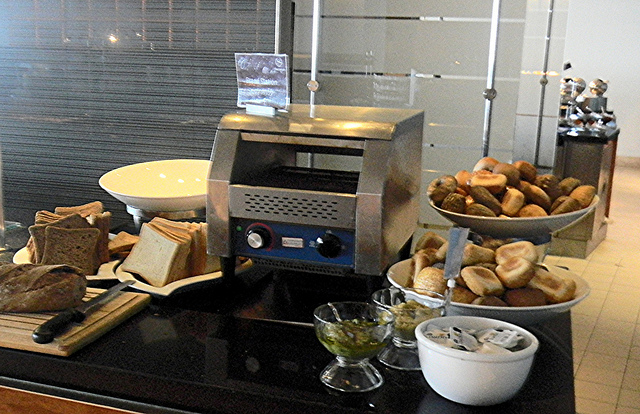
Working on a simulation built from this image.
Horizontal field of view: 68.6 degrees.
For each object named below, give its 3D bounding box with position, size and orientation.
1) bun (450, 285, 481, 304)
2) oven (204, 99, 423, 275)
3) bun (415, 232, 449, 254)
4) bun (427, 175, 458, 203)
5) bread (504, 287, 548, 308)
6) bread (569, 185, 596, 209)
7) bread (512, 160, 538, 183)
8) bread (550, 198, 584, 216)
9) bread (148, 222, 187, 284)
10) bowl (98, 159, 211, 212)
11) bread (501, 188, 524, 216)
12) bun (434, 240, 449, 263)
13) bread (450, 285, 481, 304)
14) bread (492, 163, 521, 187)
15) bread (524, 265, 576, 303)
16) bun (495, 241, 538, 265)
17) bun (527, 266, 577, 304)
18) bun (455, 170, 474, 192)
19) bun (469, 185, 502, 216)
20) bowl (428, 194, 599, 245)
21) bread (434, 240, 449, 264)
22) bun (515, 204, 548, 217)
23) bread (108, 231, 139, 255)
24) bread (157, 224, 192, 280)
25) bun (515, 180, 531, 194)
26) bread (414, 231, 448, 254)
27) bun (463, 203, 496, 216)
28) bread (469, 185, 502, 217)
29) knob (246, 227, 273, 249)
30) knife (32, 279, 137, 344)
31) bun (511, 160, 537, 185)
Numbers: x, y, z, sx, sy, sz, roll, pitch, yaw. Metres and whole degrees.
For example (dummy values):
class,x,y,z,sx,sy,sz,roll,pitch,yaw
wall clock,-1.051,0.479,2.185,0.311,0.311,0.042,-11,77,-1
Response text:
class,x,y,z,sx,sy,sz,roll,pitch,yaw
bun,0.345,0.209,1.112,0.053,0.014,0.053,18,25,18
oven,0.037,-0.052,1.489,0.596,0.393,0.545,5,13,20
bun,0.307,0.095,1.300,0.066,0.041,0.061,8,3,4
bun,0.343,-0.050,1.311,0.086,0.030,0.081,-1,40,44
bread,0.490,0.207,1.115,0.058,0.017,0.056,5,8,33
bread,0.747,-0.030,1.320,0.047,0.027,0.092,6,23,27
bread,0.582,-0.108,1.363,0.073,0.059,0.052,26,-25,-36
bread,0.657,0.002,1.252,0.074,0.037,0.024,-25,-3,-7
bread,-0.455,0.121,1.316,0.156,0.146,0.049,28,10,36
bowl,-0.670,-0.140,1.886,0.328,0.069,0.310,2,14,0
bread,0.510,-0.012,1.252,0.023,0.063,0.071,20,-17,-12
bun,0.308,0.120,1.216,0.018,0.052,0.052,38,18,-15
bread,0.347,0.210,1.111,0.046,0.012,0.046,19,25,13
bread,0.506,-0.094,1.303,0.085,0.053,0.058,3,3,15
bread,0.568,0.190,1.186,0.138,0.029,0.139,10,8,-15
bun,0.491,0.112,1.179,0.078,0.025,0.074,-31,28,-28
bun,0.570,0.180,1.137,0.092,0.026,0.084,16,25,8
bun,0.406,-0.081,1.368,0.060,0.055,0.057,6,-31,-7
bun,0.436,-0.016,1.286,0.097,0.053,0.034,43,-8,7
bowl,0.529,0.052,1.277,0.256,0.056,0.226,-4,9,-10
bread,0.307,0.118,1.214,0.019,0.052,0.053,33,32,-7
bun,0.560,0.012,1.244,0.054,0.026,0.043,-10,15,-38
bread,-0.639,0.118,1.530,0.091,0.020,0.082,-4,25,8
bread,-0.397,0.148,1.346,0.031,0.096,0.108,14,3,22
bun,0.559,-0.054,1.290,0.038,0.031,0.036,6,6,37
bread,0.309,0.095,1.300,0.069,0.041,0.064,22,4,-1
bun,0.432,0.005,1.252,0.055,0.016,0.037,5,5,-13
bread,0.435,-0.010,1.288,0.100,0.054,0.035,43,-18,7
knob,-0.163,0.084,1.289,0.074,0.062,0.035,-1,3,2
knife,-0.585,0.251,1.211,0.051,0.035,0.376,28,17,6
bun,0.577,-0.103,1.365,0.054,0.061,0.074,-4,-23,45
